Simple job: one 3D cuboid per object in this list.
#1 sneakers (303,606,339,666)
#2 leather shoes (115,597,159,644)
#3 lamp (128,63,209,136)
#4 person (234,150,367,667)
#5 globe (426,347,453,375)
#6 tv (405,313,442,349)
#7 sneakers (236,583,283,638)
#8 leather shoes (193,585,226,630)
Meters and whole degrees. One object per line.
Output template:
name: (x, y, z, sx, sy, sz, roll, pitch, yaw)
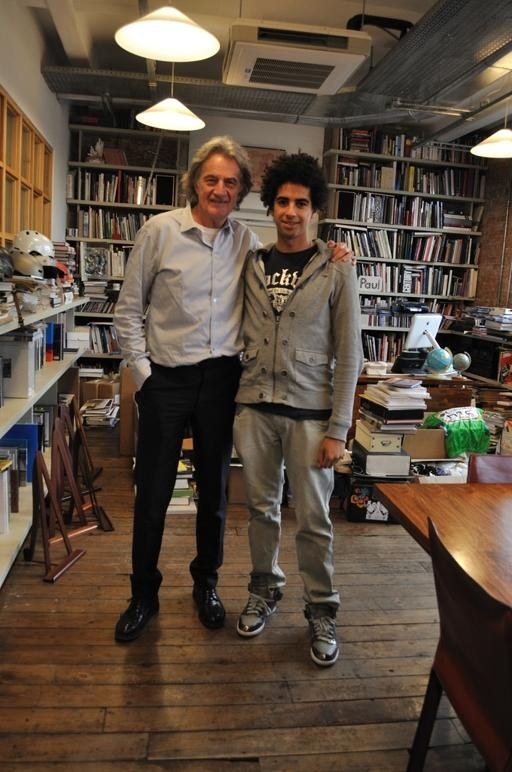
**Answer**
sneakers: (0.222, 0.822, 1.780, 0.068, 0.081, 0.204, 0, -5, 0)
leather shoes: (-0.403, 0.811, 1.858, 0.067, 0.076, 0.191, 8, -7, 10)
lamp: (-0.548, -1.751, 3.472, 0.298, 0.149, 0.347, 7, 7, 34)
person: (0.137, 0.061, 1.824, 0.421, 1.654, 0.276, 4, 5, 11)
globe: (1.483, -0.199, 4.292, 0.230, 0.212, 0.229, 4, 5, 3)
tv: (1.340, -0.429, 4.285, 0.198, 0.295, 0.482, 8, 7, 38)
sneakers: (0.014, 0.807, 1.925, 0.082, 0.102, 0.240, 4, -7, 12)
leather shoes: (-0.162, 0.810, 1.962, 0.065, 0.070, 0.176, 1, -3, -15)
